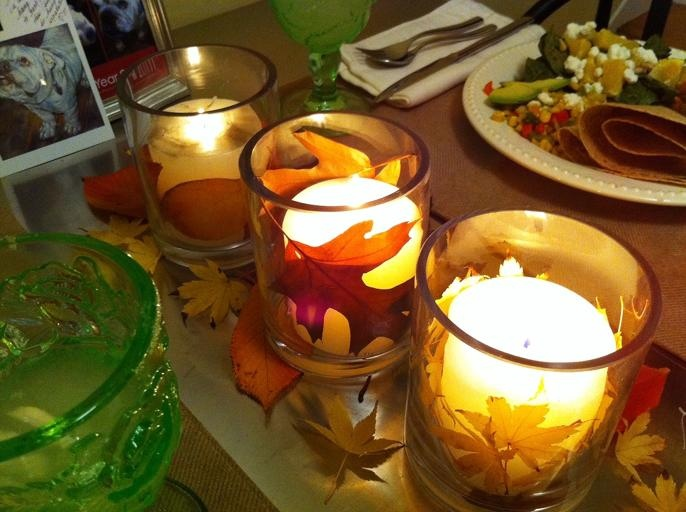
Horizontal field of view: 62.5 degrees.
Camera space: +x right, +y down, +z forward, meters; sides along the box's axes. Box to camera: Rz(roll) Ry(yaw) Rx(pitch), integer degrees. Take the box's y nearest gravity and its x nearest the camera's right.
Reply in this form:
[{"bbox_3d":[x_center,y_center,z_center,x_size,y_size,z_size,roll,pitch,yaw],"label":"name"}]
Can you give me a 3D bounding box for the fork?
[{"bbox_3d":[0.135,-0.337,0.882,0.207,0.031,0.043,-25,49,-24],"label":"fork"}]
